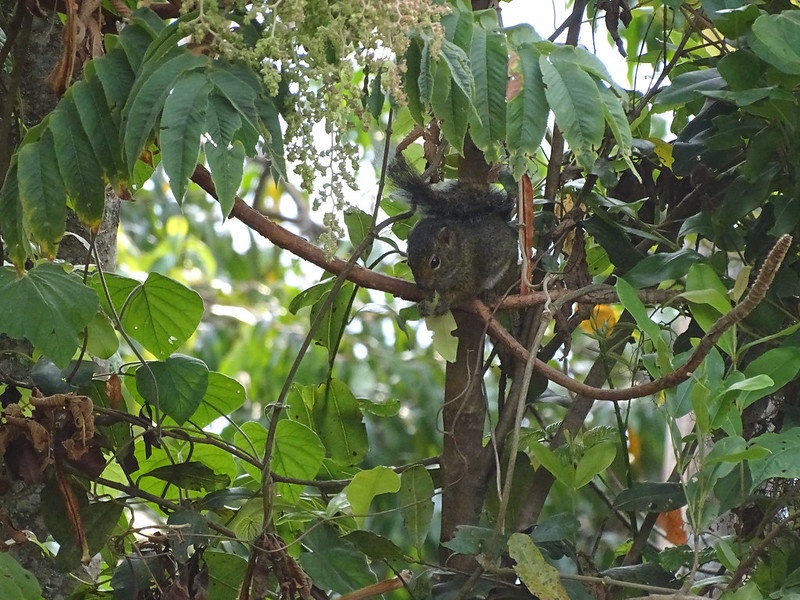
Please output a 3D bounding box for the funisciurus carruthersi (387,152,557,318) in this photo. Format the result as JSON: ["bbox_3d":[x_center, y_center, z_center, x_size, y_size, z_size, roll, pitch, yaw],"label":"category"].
[{"bbox_3d":[0.126,-0.192,3.232,0.342,0.454,0.177,-20,21,-31],"label":"funisciurus carruthersi"}]
